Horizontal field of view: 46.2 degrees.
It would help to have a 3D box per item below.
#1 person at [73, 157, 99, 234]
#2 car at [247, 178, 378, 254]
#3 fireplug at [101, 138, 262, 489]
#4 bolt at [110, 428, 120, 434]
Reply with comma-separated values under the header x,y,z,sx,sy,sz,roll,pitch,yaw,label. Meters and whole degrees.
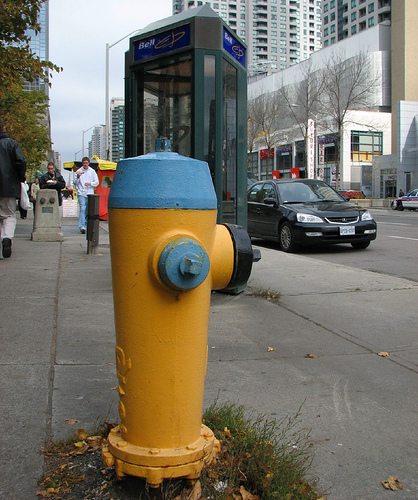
x,y,z,sx,sy,sz,roll,pitch,yaw,label
-3.421,-1.502,13.578,0.593,2.118,1.346,1,6,-14,person
2.521,-0.925,12.480,2.231,1.844,2.689,0,7,-21,car
-0.106,0.204,1.797,0.526,1.239,0.417,0,7,-20,fireplug
-0.366,0.708,1.903,0.035,0.008,0.034,0,2,-38,bolt
